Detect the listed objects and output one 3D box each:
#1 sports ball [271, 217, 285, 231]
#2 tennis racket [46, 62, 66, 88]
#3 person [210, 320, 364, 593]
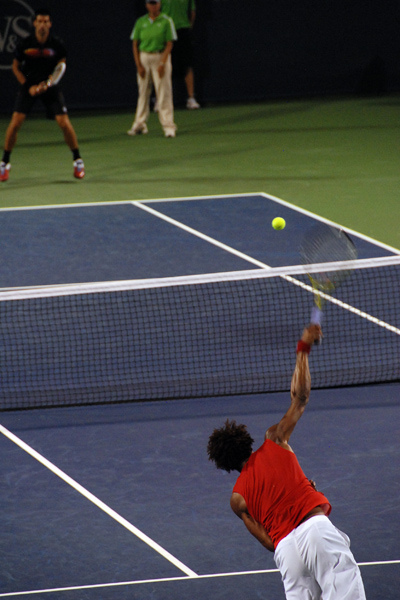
[{"bbox_3d":[1.019,-1.011,8.489,0.181,0.184,0.164,2,-12,-10],"label":"sports ball"},{"bbox_3d":[-2.159,-3.375,9.663,0.197,0.390,0.494,2,14,13],"label":"tennis racket"},{"bbox_3d":[0.254,0.538,2.054,0.392,0.771,0.522,-4,15,-9],"label":"person"}]
